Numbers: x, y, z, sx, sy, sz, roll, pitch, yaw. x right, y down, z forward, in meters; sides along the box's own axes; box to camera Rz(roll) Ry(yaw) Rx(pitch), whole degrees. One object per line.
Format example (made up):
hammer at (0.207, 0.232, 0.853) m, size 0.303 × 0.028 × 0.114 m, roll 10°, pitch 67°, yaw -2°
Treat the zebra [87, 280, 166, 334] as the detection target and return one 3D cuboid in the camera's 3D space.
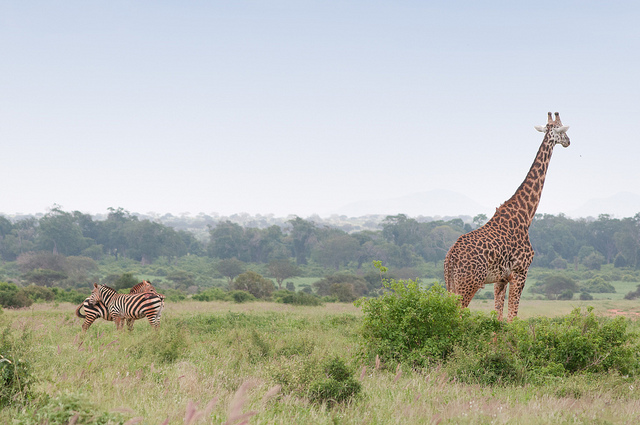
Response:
zebra at (-6.817, 3.445, 23.897) m, size 2.601 × 1.942 × 0.747 m, roll 2°, pitch 1°, yaw -7°
